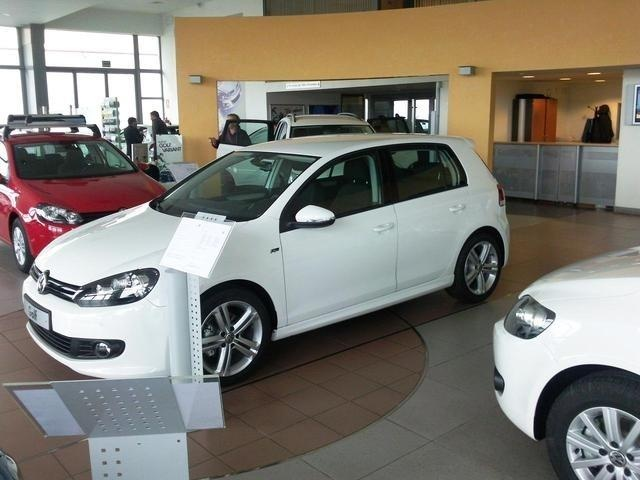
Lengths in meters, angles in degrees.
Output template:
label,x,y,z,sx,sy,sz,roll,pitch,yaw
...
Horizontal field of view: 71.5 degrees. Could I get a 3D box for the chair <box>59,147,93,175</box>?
label,x,y,z,sx,sy,sz,roll,pitch,yaw
chair,-3.784,-1.171,6.731,0.341,0.375,0.381,-10,8,13

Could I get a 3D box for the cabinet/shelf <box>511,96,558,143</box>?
label,x,y,z,sx,sy,sz,roll,pitch,yaw
cabinet/shelf,7.581,-4.106,15.471,1.701,1.520,0.558,-7,11,-33

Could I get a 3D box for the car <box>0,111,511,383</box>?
label,x,y,z,sx,sy,sz,roll,pitch,yaw
car,-0.277,0.026,4.392,4.263,1.443,2.237,-7,12,-34

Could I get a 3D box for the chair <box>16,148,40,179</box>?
label,x,y,z,sx,sy,sz,roll,pitch,yaw
chair,-4.210,-1.081,6.378,0.397,0.454,0.555,-1,7,-33
